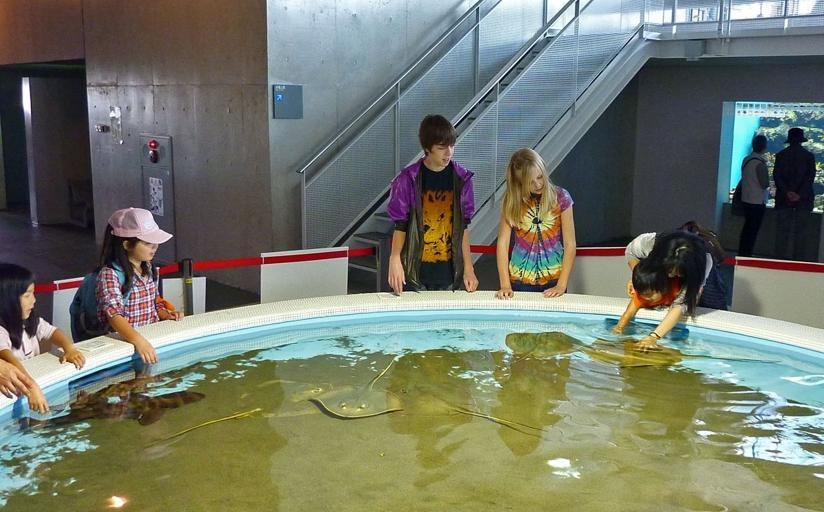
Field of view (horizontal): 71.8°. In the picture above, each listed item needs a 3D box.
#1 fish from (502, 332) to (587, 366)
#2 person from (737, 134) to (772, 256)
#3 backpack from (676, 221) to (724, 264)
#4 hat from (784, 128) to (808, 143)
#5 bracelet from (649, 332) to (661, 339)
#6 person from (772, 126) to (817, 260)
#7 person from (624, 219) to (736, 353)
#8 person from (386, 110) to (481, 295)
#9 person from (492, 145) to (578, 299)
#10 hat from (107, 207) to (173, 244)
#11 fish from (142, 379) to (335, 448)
[{"bbox_3d":[0.995,0.667,4.275,0.560,0.095,0.397,1,10,0],"label":"fish"},{"bbox_3d":[5.985,-1.051,10.010,0.494,2.175,1.372,6,11,29],"label":"person"},{"bbox_3d":[2.096,-0.118,4.240,0.270,0.126,0.328,8,17,-23],"label":"backpack"},{"bbox_3d":[6.478,-2.017,9.626,0.346,0.206,0.383,-3,11,8],"label":"hat"},{"bbox_3d":[1.814,0.581,4.233,0.065,0.020,0.049,25,-2,10],"label":"bracelet"},{"bbox_3d":[6.461,-1.035,9.637,0.605,2.208,0.442,7,12,33],"label":"person"},{"bbox_3d":[2.127,0.270,4.459,0.551,0.995,1.235,24,-4,31],"label":"person"},{"bbox_3d":[0.177,-0.380,4.570,0.737,1.446,0.523,0,10,-5],"label":"person"},{"bbox_3d":[1.000,-0.251,4.580,0.611,1.208,0.356,3,10,15],"label":"person"},{"bbox_3d":[-1.930,-0.246,4.039,0.487,0.202,0.325,9,20,16],"label":"hat"},{"bbox_3d":[-1.098,0.947,3.593,0.973,0.149,0.285,-4,11,-28],"label":"fish"}]
